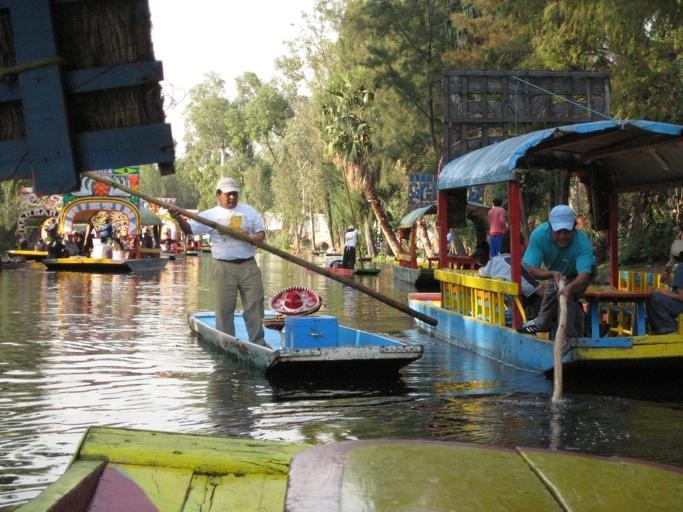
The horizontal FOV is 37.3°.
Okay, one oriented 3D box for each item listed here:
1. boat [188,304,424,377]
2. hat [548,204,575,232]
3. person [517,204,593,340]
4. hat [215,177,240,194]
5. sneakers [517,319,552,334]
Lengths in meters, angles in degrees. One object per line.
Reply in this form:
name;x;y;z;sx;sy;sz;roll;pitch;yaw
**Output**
boat;-0.743;1.079;12.827;1.832;0.690;4.811;1;-3;-19
hat;2.293;-0.395;10.521;0.254;0.289;0.312;0;-2;13
person;2.317;0.185;10.800;0.777;1.397;1.083;0;-2;-3
hat;-1.322;-0.862;11.692;0.249;0.177;0.343;2;-6;-23
sneakers;2.134;0.799;11.254;0.338;0.153;0.126;1;-4;34
